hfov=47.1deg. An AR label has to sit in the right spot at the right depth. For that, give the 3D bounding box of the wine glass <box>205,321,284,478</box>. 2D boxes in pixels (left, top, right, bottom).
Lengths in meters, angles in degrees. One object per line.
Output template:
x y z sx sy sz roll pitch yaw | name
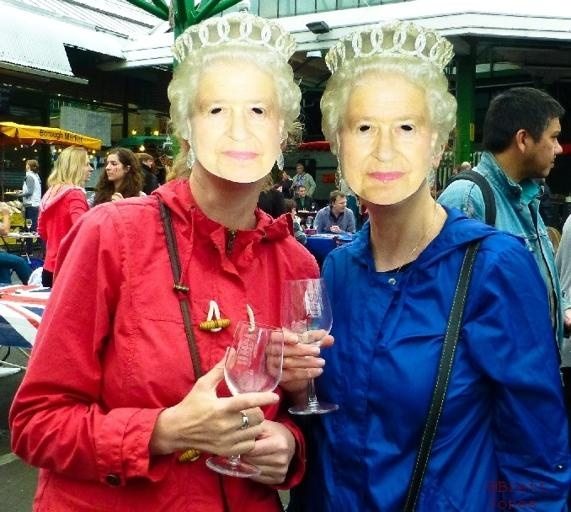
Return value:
-0.115 0.434 1.860 0.223 0.515 0.262 1 7 -3 | wine glass

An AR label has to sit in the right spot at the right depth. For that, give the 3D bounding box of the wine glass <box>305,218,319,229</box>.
0.463 -0.545 11.458 0.169 0.222 0.212 2 -6 -8 | wine glass
